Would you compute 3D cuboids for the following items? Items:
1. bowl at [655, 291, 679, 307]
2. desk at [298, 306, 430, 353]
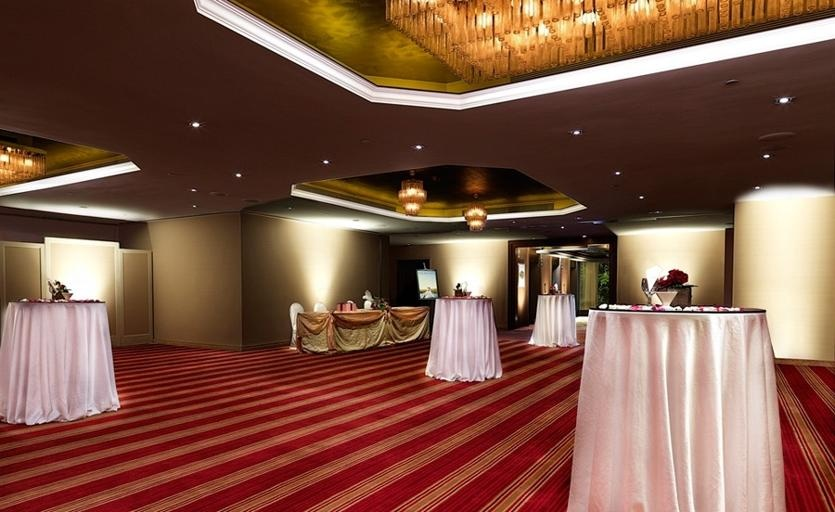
[{"bbox_3d":[2.507,0.411,5.072,0.140,0.121,0.154,-2,3,-42],"label":"bowl"},{"bbox_3d":[-1.149,1.678,11.973,3.160,1.121,0.799,-4,6,-40],"label":"desk"}]
